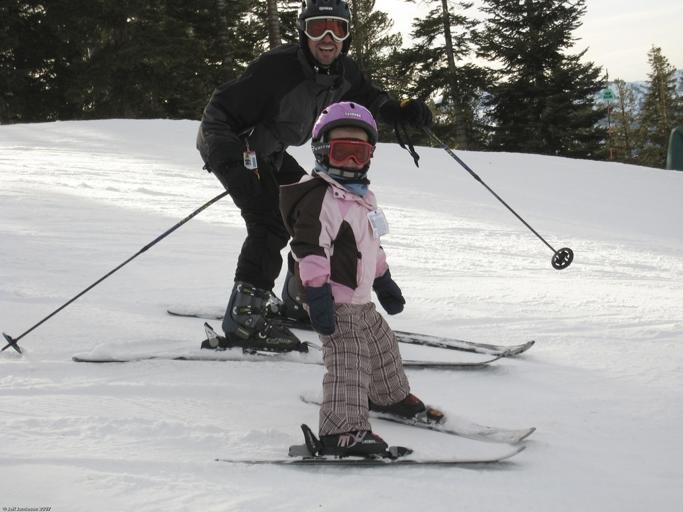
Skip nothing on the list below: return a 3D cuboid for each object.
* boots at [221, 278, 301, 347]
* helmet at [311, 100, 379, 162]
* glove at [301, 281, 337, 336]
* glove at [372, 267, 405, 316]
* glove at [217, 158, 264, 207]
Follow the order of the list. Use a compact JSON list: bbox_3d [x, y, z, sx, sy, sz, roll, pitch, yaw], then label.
[{"bbox_3d":[-0.628,0.431,6.285,0.757,0.470,0.286,13,-8,-44],"label":"boots"},{"bbox_3d":[-0.005,-0.760,5.600,0.403,0.373,0.385,5,-4,-14],"label":"helmet"},{"bbox_3d":[-0.144,0.318,5.243,0.236,0.278,0.099,-6,-7,6],"label":"glove"},{"bbox_3d":[0.305,0.222,5.743,0.209,0.308,0.111,-27,15,28],"label":"glove"},{"bbox_3d":[-0.714,-0.499,6.079,0.324,0.311,0.196,3,4,-11],"label":"glove"}]
